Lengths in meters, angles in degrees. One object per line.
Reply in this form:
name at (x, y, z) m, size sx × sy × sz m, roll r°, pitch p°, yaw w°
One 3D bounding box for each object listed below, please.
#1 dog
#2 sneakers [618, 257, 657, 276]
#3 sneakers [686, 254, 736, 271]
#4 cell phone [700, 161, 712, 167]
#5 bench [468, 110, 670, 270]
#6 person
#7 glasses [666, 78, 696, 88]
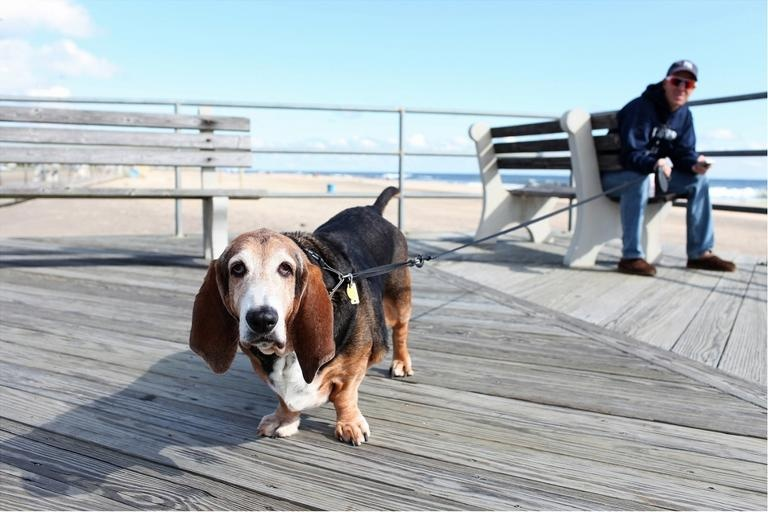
dog at (-0.244, 0.197, 2.883) m, size 0.559 × 0.794 × 1.754 m, roll 1°, pitch 12°, yaw 14°
sneakers at (1.930, 0.081, 4.780) m, size 0.125 × 0.099 × 0.256 m, roll -9°, pitch 8°, yaw -38°
sneakers at (2.536, 0.051, 4.867) m, size 0.387 × 0.137 × 0.136 m, roll -1°, pitch 2°, yaw 27°
cell phone at (2.397, -0.700, 4.652) m, size 0.070 × 0.043 × 0.103 m, roll 11°, pitch 15°, yaw 40°
bench at (1.618, -0.664, 5.839) m, size 1.020 × 1.129 × 1.954 m, roll 2°, pitch 9°, yaw -15°
person at (2.193, -0.684, 4.793) m, size 0.818 × 1.604 × 0.592 m, roll -1°, pitch 13°, yaw -8°
glasses at (2.202, -1.303, 4.633) m, size 0.186 × 0.079 × 0.076 m, roll -1°, pitch 12°, yaw -9°
